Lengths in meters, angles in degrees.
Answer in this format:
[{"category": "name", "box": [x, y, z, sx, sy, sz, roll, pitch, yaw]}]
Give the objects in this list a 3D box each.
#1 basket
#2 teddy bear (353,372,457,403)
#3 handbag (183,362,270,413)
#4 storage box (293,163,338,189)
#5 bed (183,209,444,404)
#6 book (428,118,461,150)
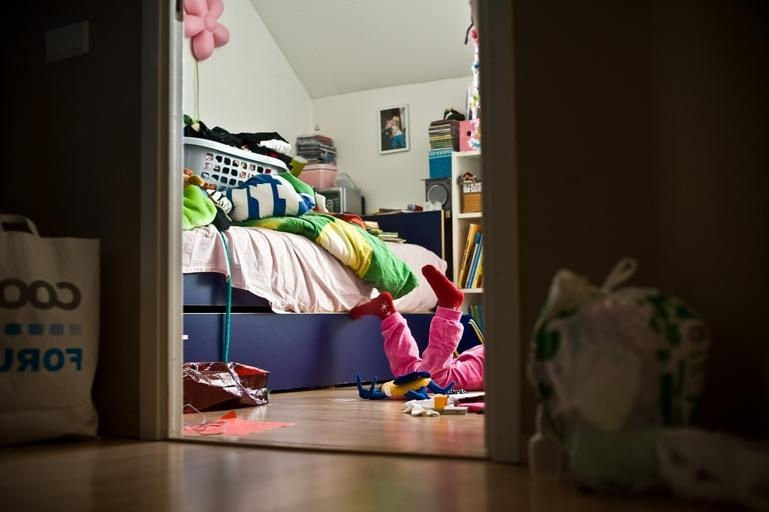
[{"category": "basket", "box": [-0.869, -0.496, 3.337, 0.240, 0.126, 0.360, 4, -1, 44]}, {"category": "teddy bear", "box": [0.092, 0.580, 2.645, 0.425, 0.138, 0.304, 0, -2, 8]}, {"category": "handbag", "box": [-0.660, 0.513, 2.476, 0.231, 0.090, 0.223, 5, -5, -45]}, {"category": "storage box", "box": [-0.562, -0.677, 5.172, 0.280, 0.182, 0.282, 3, 4, 36]}, {"category": "bed", "box": [-0.408, 0.263, 2.851, 0.599, 0.486, 0.952, 1, 0, 40]}, {"category": "book", "box": [0.455, -0.926, 4.541, 0.222, 0.228, 0.222, 0, 10, 13]}]
